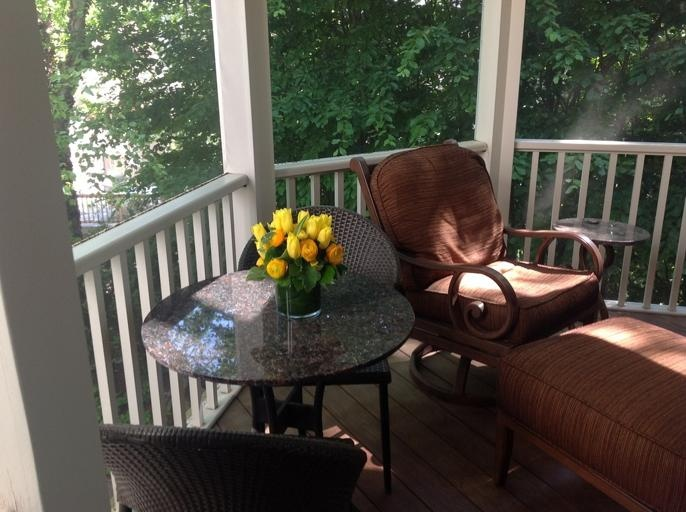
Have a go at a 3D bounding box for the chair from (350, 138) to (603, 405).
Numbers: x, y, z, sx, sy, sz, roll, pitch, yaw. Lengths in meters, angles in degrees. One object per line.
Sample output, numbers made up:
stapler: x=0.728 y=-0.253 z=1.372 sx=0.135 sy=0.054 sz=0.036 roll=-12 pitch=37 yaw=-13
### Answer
chair: x=0.673 y=0.034 z=2.668 sx=1.009 sy=1.076 sz=1.268 roll=-7 pitch=14 yaw=-15

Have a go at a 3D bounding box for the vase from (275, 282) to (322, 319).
vase: x=-0.140 y=0.145 z=1.723 sx=0.108 sy=0.129 sz=0.114 roll=0 pitch=4 yaw=1

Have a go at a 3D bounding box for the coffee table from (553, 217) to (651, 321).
coffee table: x=1.435 y=0.134 z=3.150 sx=0.462 sy=0.549 sz=0.448 roll=-1 pitch=-5 yaw=18

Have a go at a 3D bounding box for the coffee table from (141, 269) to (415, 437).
coffee table: x=-0.106 y=0.290 z=1.680 sx=0.319 sy=0.356 sz=0.326 roll=-16 pitch=58 yaw=-25

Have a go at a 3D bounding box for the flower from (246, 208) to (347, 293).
flower: x=-0.144 y=-0.050 z=1.748 sx=0.250 sy=0.250 sz=0.261 roll=3 pitch=9 yaw=22
